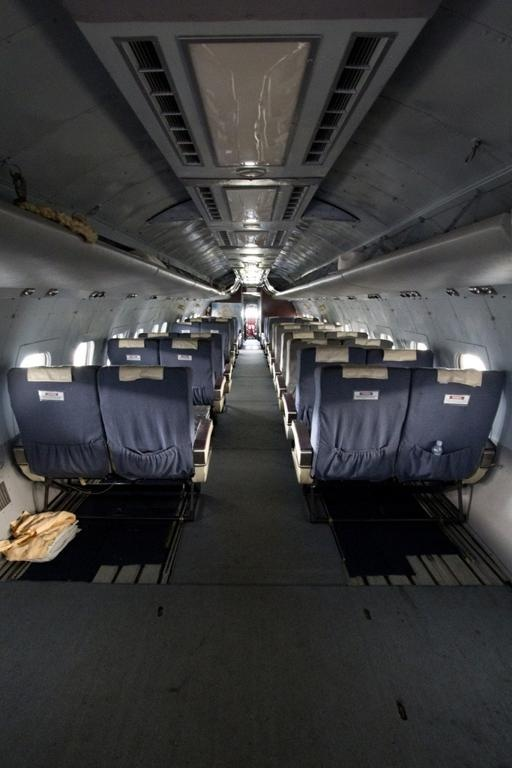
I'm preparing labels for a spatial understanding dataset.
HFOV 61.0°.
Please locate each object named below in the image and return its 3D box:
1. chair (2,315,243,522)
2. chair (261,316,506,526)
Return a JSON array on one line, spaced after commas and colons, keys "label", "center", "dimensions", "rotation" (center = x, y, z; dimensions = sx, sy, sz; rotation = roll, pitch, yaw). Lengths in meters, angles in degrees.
[{"label": "chair", "center": [-1.327, 0.344, 4.940], "dimensions": [1.767, 1.240, 2.182], "rotation": [1, 13, 0]}, {"label": "chair", "center": [1.264, 0.235, 5.008], "dimensions": [1.834, 1.196, 2.346], "rotation": [2, 15, 2]}]
